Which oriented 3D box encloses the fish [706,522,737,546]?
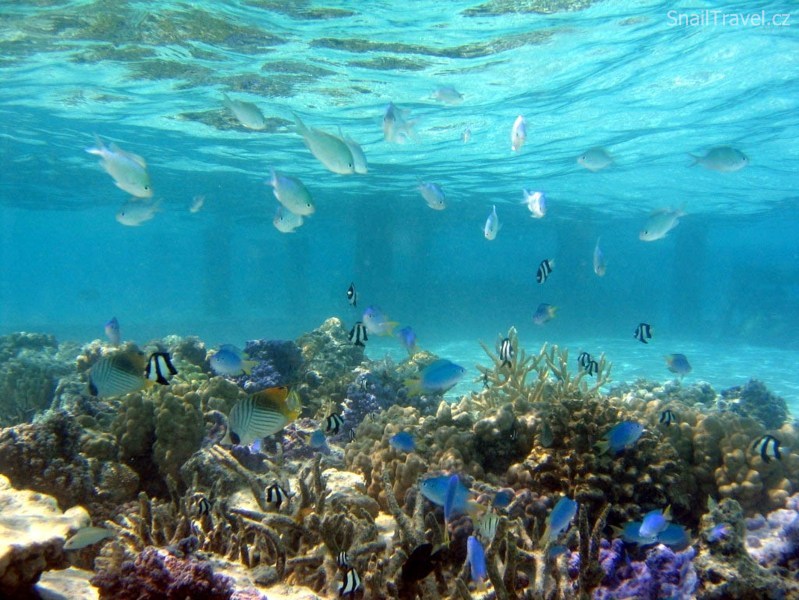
[{"bbox_3d":[5.718,4.154,12.163,0.481,0.315,0.152,1,7,0],"label":"fish"}]

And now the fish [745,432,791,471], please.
[{"bbox_3d":[7.213,2.917,13.156,0.855,0.646,0.514,0,7,-8],"label":"fish"}]
